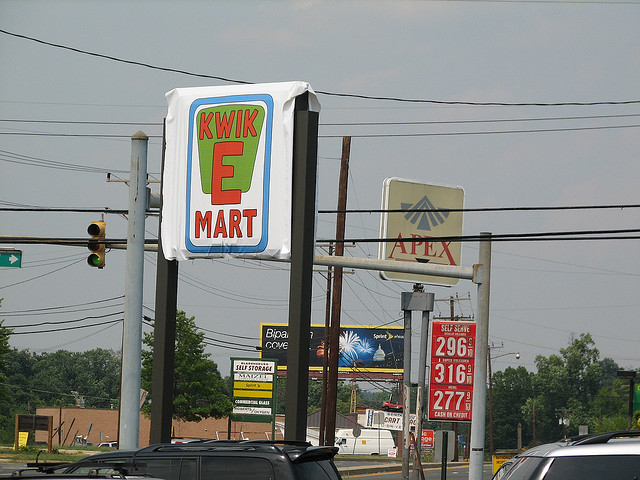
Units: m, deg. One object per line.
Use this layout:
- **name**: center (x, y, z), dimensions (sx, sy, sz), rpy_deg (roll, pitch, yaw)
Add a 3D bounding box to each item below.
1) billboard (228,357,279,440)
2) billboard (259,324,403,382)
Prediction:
- **billboard**: center (-6.842, 15.617, 165.420), dimensions (4.746, 6.917, 2.718), rpy_deg (-1, -11, 11)
- **billboard**: center (2.299, 14.999, 211.559), dimensions (18.668, 8.897, 0.751), rpy_deg (2, 27, 2)
